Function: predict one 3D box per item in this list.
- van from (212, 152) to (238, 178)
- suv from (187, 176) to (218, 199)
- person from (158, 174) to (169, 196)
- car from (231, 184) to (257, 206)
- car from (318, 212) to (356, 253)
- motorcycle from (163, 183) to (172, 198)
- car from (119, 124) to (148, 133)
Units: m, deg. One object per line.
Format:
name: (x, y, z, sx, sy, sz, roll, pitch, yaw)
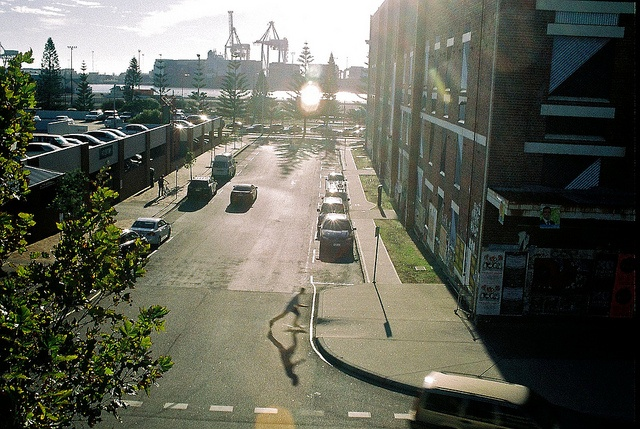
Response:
van: (-9.814, -5.157, 50.504, 1.394, 1.751, 3.113, 2, 21, 2)
suv: (-9.973, -2.352, 41.752, 1.957, 1.854, 4.225, 1, 13, -4)
person: (-13.258, -2.695, 42.179, 0.765, 1.623, 3.448, -2, 14, -17)
car: (-6.121, -1.615, 40.214, 1.516, 1.592, 2.624, 5, 14, 16)
car: (0.938, 1.176, 30.175, 1.904, 2.168, 4.457, 0, 3, 0)
motorcycle: (-13.110, -2.069, 42.477, 0.684, 0.914, 1.367, -2, 2, -15)
car: (-23.241, -10.747, 61.797, 2.485, 0.900, 4.448, -6, 16, -28)
